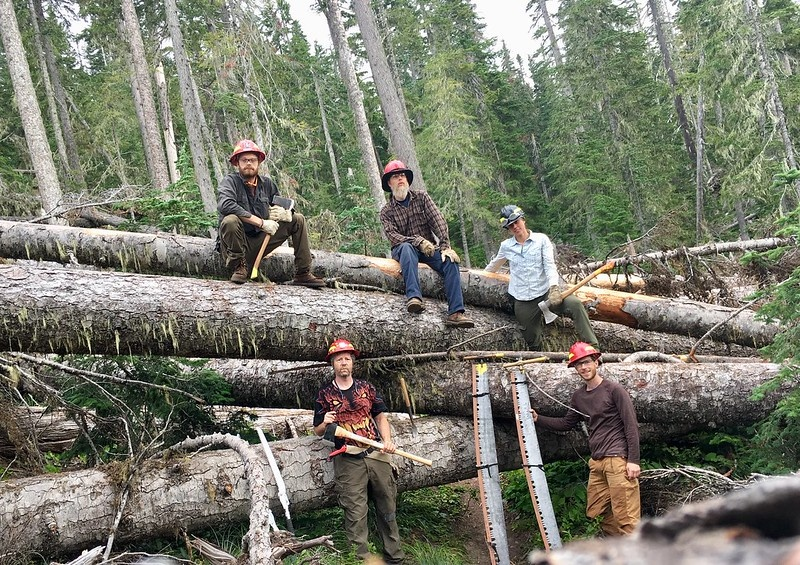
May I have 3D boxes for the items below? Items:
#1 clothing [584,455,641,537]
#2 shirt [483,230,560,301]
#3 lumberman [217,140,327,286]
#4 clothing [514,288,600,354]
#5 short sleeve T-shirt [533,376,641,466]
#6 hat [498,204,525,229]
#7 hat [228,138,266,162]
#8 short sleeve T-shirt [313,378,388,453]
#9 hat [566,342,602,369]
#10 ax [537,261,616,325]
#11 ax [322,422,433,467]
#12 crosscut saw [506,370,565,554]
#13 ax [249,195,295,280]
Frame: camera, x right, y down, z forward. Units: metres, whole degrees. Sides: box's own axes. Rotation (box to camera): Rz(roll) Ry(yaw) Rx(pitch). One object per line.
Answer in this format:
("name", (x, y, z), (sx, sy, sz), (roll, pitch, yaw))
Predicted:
("clothing", (3.023, 3.073, 9.361), (0.727, 1.174, 0.520), (-2, 10, 19))
("shirt", (2.231, -0.318, 11.488), (1.632, 1.124, 0.978), (-2, 16, 20))
("lumberman", (-2.116, -1.084, 10.196), (1.638, 2.349, 1.753), (-3, 0, 7))
("clothing", (2.793, 0.696, 11.240), (1.011, 1.101, 1.350), (-33, -36, 2))
("short sleeve T-shirt", (2.793, 2.008, 9.784), (1.212, 1.060, 0.418), (-22, -29, 22))
("hat", (1.931, -1.160, 11.368), (0.313, 0.371, 0.422), (-23, 3, 22))
("hat", (-2.376, -2.065, 10.298), (0.541, 0.289, 0.546), (-3, 3, -17))
("short sleeve T-shirt", (-0.701, 1.972, 9.721), (1.138, 1.096, 0.619), (-8, -3, -25))
("hat", (2.709, 1.054, 9.602), (0.529, 0.401, 0.416), (-7, 10, -6))
("ax", (2.955, 0.180, 10.923), (1.476, 0.327, 0.686), (-39, 14, 4))
("ax", (-0.374, 2.424, 9.748), (1.599, 0.304, 0.233), (18, 51, -2))
("crosscut saw", (1.946, 2.605, 9.546), (0.442, 3.135, 0.119), (14, -35, -34))
("ax", (-2.026, -0.604, 10.299), (0.476, 1.538, 0.134), (19, -10, -11))
